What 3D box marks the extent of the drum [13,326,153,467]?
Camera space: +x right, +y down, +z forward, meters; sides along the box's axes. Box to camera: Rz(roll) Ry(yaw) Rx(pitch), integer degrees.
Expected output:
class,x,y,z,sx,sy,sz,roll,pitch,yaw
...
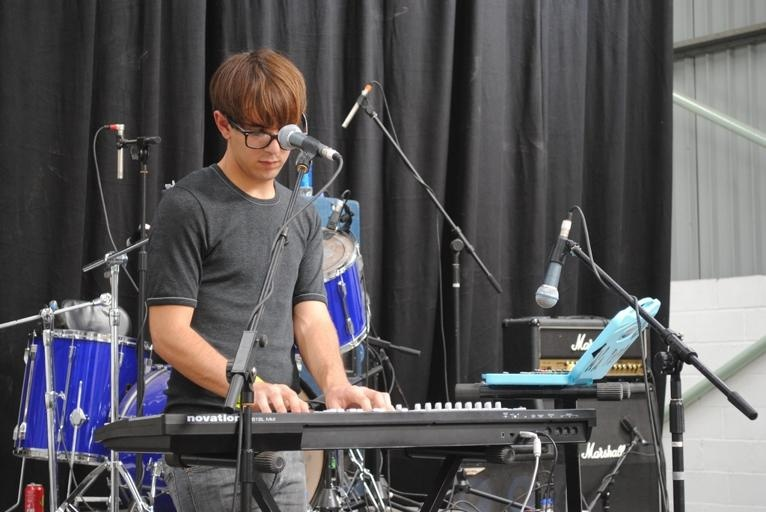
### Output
class,x,y,z,sx,sy,sz,roll,pitch,yaw
drum,-1.746,0.697,7.242,0.646,0.652,0.676,2,-15,30

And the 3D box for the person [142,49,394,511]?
class,x,y,z,sx,sy,sz,roll,pitch,yaw
person,-0.545,0.094,5.874,0.906,2.000,0.430,2,-2,-11
